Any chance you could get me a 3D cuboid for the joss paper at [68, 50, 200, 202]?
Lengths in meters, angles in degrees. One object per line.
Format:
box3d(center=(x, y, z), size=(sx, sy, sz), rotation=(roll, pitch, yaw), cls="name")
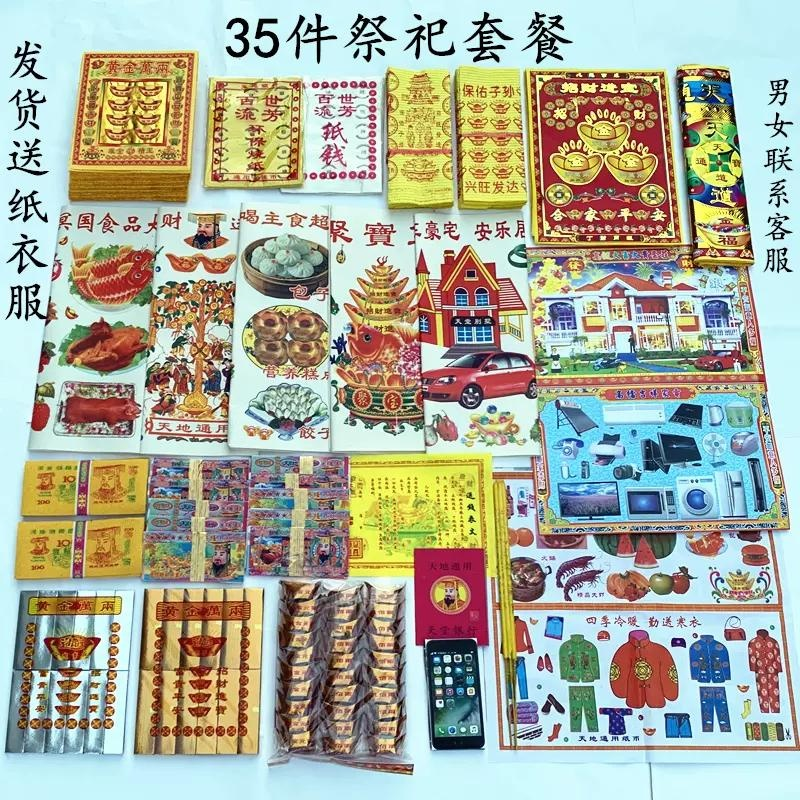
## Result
box3d(center=(-0.889, -0.901, 3.060), size=(0.382, 0.374, 0.457), rotation=(2, 44, -9), cls="joss paper")
